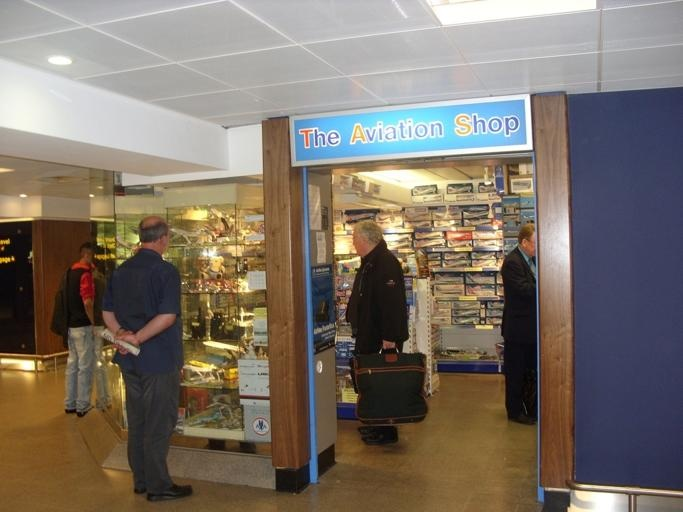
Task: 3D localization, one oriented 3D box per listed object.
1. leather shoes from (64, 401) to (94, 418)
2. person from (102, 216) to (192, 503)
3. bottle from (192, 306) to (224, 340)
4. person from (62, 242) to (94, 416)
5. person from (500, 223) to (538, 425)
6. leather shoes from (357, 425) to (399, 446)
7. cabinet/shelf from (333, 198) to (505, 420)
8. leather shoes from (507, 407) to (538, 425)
[{"bbox_3d":[-3.123,1.852,6.953,0.242,0.131,0.423,-4,3,-40],"label":"leather shoes"},{"bbox_3d":[-1.583,0.961,4.707,0.643,2.042,0.321,-1,2,15],"label":"person"},{"bbox_3d":[-1.209,0.621,5.318,0.301,0.291,0.163,2,4,19],"label":"bottle"},{"bbox_3d":[-3.212,0.886,7.088,0.376,2.050,0.858,-3,3,-25],"label":"person"},{"bbox_3d":[1.952,0.726,6.351,0.347,2.132,0.460,-1,2,15],"label":"person"},{"bbox_3d":[0.393,1.814,5.840,0.264,0.088,0.202,3,-3,1],"label":"leather shoes"},{"bbox_3d":[1.125,0.716,7.357,2.652,2.587,0.840,-2,-10,8],"label":"cabinet/shelf"},{"bbox_3d":[1.947,1.751,6.236,0.311,0.123,0.104,-6,-4,27],"label":"leather shoes"}]
